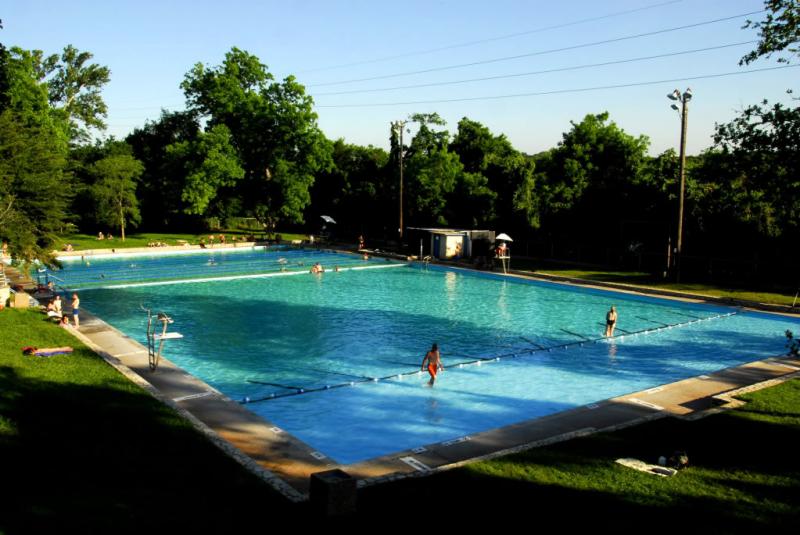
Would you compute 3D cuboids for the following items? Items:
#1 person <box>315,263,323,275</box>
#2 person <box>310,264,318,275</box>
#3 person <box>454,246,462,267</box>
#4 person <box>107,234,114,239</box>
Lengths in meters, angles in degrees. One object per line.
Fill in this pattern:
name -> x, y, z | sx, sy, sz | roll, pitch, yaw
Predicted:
person -> -6.029, 0.121, 44.408 | 0.714, 0.958, 0.611 | -3, 27, -8
person -> -6.318, 0.119, 44.153 | 0.573, 0.274, 0.743 | -1, 16, -5
person -> 4.524, -1.183, 48.106 | 0.730, 1.150, 1.143 | 3, 5, 6
person -> -29.224, -3.087, 60.860 | 0.733, 0.564, 0.705 | 3, 2, 35
